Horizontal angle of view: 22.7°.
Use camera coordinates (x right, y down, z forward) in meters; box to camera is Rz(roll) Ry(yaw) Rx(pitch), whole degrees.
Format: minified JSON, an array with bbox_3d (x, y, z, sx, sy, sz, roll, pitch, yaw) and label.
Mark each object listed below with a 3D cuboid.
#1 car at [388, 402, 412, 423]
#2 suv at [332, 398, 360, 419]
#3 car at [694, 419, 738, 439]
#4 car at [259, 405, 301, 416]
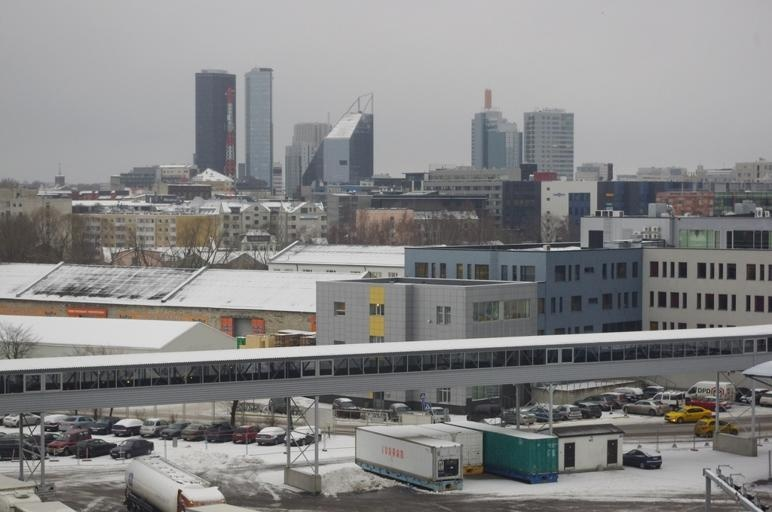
[{"bbox_3d":[1.153,13.243,160.421,1.195,1.047,2.052,1,7,0],"label":"car"},{"bbox_3d":[-3.342,13.092,163.022,2.218,1.344,3.162,0,2,-4],"label":"suv"},{"bbox_3d":[26.237,13.968,154.248,2.565,1.177,1.564,-4,5,-16],"label":"car"},{"bbox_3d":[-8.555,12.832,157.425,3.001,0.738,2.072,2,0,18],"label":"car"}]
